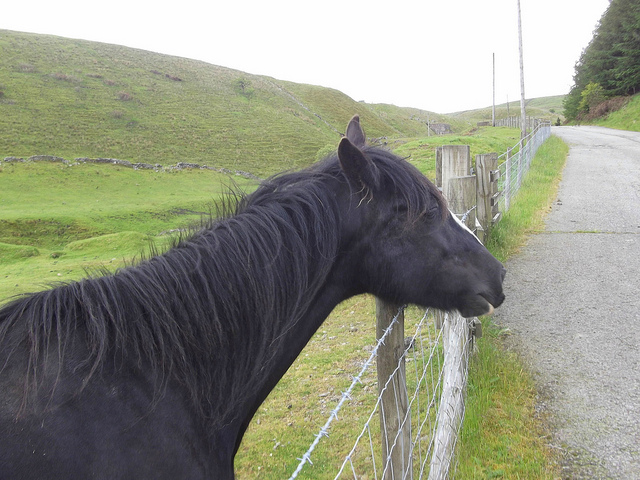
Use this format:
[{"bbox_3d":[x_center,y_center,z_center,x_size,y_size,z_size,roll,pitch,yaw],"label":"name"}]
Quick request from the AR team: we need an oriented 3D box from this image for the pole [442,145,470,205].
[{"bbox_3d":[1.806,-0.858,6.160,0.464,0.717,0.422,-2,7,0],"label":"pole"}]

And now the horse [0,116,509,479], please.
[{"bbox_3d":[0.279,-0.012,4.176,4.437,3.250,1.309,-10,17,-9],"label":"horse"}]
